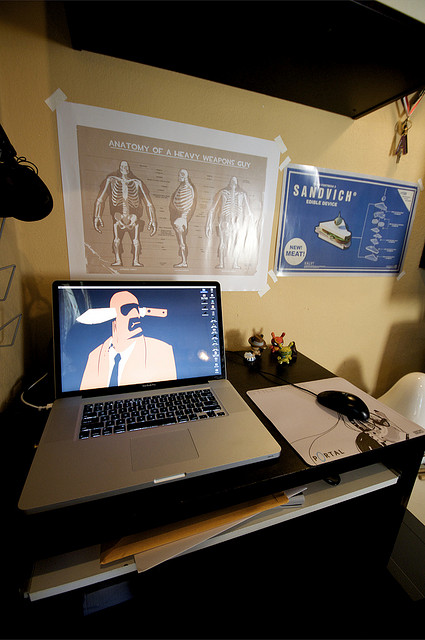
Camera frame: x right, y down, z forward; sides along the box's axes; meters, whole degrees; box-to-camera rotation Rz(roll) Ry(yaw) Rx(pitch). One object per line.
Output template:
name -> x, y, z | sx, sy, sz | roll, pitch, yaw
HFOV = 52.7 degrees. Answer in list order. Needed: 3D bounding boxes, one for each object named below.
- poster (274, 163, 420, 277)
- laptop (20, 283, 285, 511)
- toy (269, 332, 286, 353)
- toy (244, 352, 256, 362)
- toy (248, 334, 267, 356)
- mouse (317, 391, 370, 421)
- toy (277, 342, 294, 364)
poster -> 0.420, -0.295, 1.319 | 0.507, 0.320, 0.074 | -4, 8, -25
laptop -> -0.121, 0.094, 0.852 | 0.451, 0.331, 0.320 | -3, 8, -18
toy -> 0.180, 0.063, 1.254 | 0.050, 0.081, 0.048 | 5, -1, 0
toy -> 0.099, 0.101, 1.167 | 0.018, 0.010, 0.025 | 17, 7, 31
toy -> 0.127, 0.070, 1.213 | 0.039, 0.050, 0.055 | 1, -5, -6
mouse -> 0.288, 0.171, 0.924 | 0.047, 0.031, 0.087 | -5, 19, -36
toy -> 0.195, 0.086, 1.199 | 0.027, 0.024, 0.066 | 2, 45, 13
